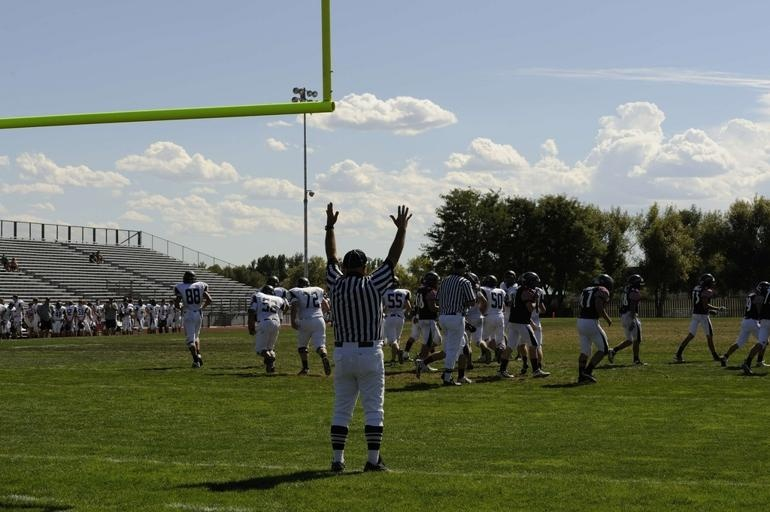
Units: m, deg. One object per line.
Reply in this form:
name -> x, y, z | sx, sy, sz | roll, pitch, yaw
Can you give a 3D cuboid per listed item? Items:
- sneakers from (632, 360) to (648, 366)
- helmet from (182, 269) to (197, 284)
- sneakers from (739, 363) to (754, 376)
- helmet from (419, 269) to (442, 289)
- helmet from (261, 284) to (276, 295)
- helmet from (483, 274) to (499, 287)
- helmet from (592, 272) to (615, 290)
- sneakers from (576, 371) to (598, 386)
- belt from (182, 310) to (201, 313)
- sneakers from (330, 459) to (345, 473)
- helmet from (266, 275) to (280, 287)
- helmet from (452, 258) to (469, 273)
sneakers -> 6.171, 2.574, 26.864 | 0.420, 0.155, 0.133 | 2, 3, -8
helmet -> -4.738, 0.500, 26.702 | 0.259, 0.296, 0.547 | 1, -5, -15
sneakers -> 8.139, 2.558, 25.086 | 0.145, 0.167, 0.464 | -1, 0, 32
helmet -> 1.032, 0.548, 25.879 | 0.451, 0.394, 0.337 | -11, 6, -11
helmet -> -2.817, 0.786, 26.377 | 0.208, 0.234, 0.239 | -3, -27, 23
helmet -> 2.412, 0.569, 26.236 | 0.341, 0.312, 0.296 | 18, 25, 29
helmet -> 4.893, 0.612, 24.703 | 0.537, 0.406, 0.402 | -7, 18, -28
sneakers -> 4.308, 2.665, 24.045 | 0.536, 0.204, 0.166 | 5, -37, -2
belt -> -4.681, 1.317, 26.725 | 0.195, 0.116, 0.484 | -4, -6, 43
sneakers -> -0.785, 3.424, 17.989 | 0.170, 0.187, 0.207 | 5, -15, 6
helmet -> -2.708, 0.579, 26.574 | 0.243, 0.272, 0.293 | -3, 1, -7
helmet -> 1.613, 0.131, 24.189 | 0.358, 0.389, 0.405 | 2, -10, 4
